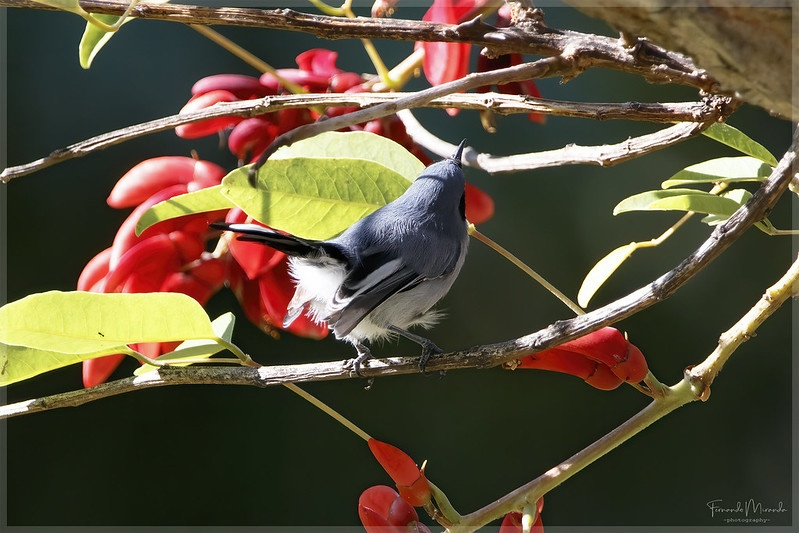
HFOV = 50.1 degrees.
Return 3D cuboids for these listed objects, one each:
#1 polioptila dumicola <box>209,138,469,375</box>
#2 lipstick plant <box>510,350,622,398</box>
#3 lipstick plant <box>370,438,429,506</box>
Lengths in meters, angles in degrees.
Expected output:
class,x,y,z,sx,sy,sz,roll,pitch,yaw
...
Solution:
class,x,y,z,sx,sy,sz,roll,pitch,yaw
polioptila dumicola,-0.081,-0.013,2.271,0.964,0.542,0.311,-13,8,-44
lipstick plant,0.373,0.234,2.016,0.328,0.091,0.091,6,42,-38
lipstick plant,-0.012,0.472,1.967,0.044,0.076,0.166,-3,38,-50
